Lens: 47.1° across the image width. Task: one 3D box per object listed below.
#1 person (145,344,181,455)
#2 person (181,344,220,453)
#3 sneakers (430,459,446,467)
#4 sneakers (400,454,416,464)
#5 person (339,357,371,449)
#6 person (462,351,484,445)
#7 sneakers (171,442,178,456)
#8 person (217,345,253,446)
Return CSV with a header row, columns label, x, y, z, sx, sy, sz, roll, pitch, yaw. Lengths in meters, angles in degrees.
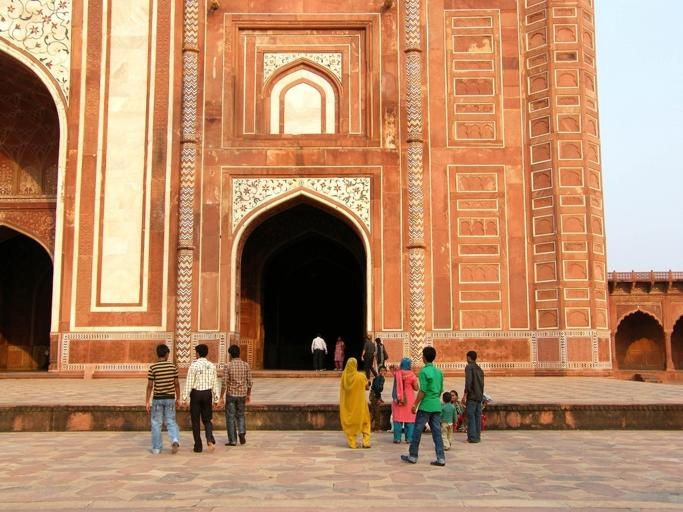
label,x,y,z,sx,sy,sz,roll,pitch,yaw
person,-2.040,1.632,8.958,0.384,1.218,0.738,1,-11,-11
person,-1.643,1.667,9.226,0.401,1.227,0.890,0,-10,-9
sneakers,1.011,2.179,8.250,0.167,0.076,0.179,-4,-10,14
sneakers,0.720,2.173,8.326,0.167,0.109,0.060,4,-8,26
person,0.170,1.754,9.336,0.351,1.038,0.572,-2,-10,0
person,1.626,1.730,9.607,0.250,1.088,0.420,-3,-11,8
sneakers,-1.835,2.126,8.653,0.064,0.053,0.119,6,-50,-9
person,-1.264,1.665,9.306,0.361,1.162,0.532,-5,-11,15
